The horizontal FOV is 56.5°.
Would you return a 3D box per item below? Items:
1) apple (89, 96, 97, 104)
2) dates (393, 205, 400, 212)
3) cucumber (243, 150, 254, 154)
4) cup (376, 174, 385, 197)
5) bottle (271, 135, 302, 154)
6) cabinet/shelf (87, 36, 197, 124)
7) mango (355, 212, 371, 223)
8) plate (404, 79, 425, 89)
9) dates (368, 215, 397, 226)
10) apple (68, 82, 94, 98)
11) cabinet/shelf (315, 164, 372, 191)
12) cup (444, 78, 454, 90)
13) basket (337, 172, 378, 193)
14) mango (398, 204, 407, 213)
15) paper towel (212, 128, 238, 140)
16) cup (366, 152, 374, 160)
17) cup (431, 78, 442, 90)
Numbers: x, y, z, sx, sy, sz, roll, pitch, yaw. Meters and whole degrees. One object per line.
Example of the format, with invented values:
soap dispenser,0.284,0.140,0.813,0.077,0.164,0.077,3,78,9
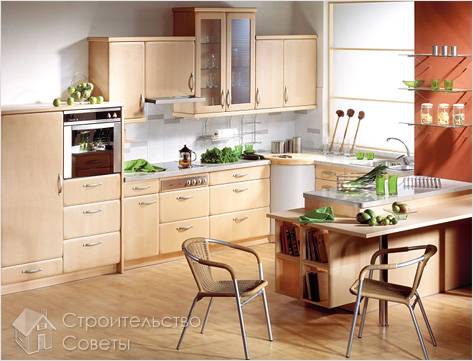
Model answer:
apple,-1.596,-0.890,4.848,0.090,0.078,0.080,-6,14,-28
dates,1.377,0.244,3.790,0.066,0.051,0.056,-2,6,-2
cucumber,0.180,-0.415,6.349,0.140,0.044,0.093,0,6,2
cup,1.367,0.044,4.190,0.071,0.199,0.061,2,7,21
bottle,0.758,-0.526,6.639,0.466,0.211,0.229,1,3,12
cabinet/shelf,-1.172,-1.259,5.315,1.464,0.961,0.551,-7,13,-38
mango,1.076,0.319,3.723,0.142,0.097,0.083,4,8,34
plate,1.965,-1.058,4.891,0.174,0.047,0.162,3,8,26
dates,1.220,0.335,3.674,0.142,0.037,0.123,-2,5,-8
apple,-1.812,-1.024,4.987,0.294,0.134,0.262,-1,4,33
cabinet/shelf,1.330,-0.051,5.395,0.254,0.163,0.419,-8,10,-43
cup,2.269,-1.024,4.697,0.089,0.148,0.273,2,7,25
basket,1.234,0.029,4.433,0.342,0.097,0.268,-4,5,-44
mango,1.430,0.242,3.778,0.072,0.054,0.083,-1,-9,2
paper towel,-0.162,-0.682,6.367,0.408,0.139,0.170,-10,33,-32
cup,1.893,-0.344,6.190,0.115,0.101,0.111,0,6,0
cup,2.193,-1.051,4.828,0.104,0.137,0.241,2,7,22
